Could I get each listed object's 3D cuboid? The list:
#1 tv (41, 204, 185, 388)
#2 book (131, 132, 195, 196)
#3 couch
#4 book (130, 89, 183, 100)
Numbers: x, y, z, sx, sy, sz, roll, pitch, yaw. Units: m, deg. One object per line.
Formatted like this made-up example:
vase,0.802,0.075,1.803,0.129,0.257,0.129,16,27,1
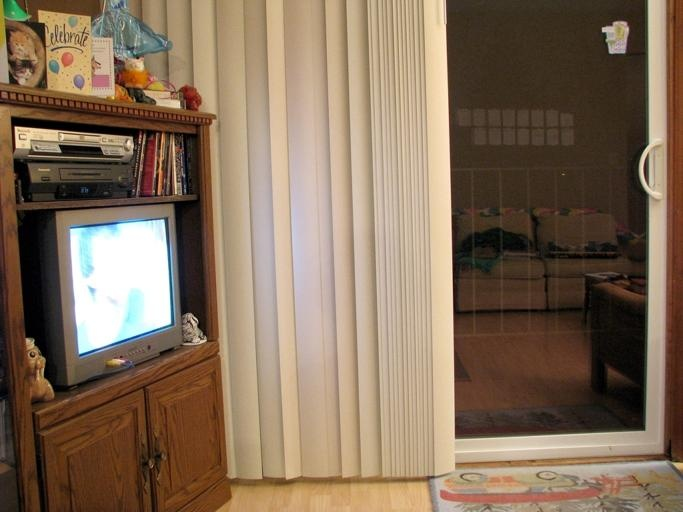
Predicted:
tv,-1.080,0.126,2.674,0.443,0.705,0.678,3,10,19
book,-0.753,-0.390,2.680,0.068,0.240,0.284,5,5,38
couch,0.968,0.258,3.323,1.093,0.872,0.229,0,7,-1
book,-0.796,-0.680,2.670,0.092,0.019,0.089,2,5,25
